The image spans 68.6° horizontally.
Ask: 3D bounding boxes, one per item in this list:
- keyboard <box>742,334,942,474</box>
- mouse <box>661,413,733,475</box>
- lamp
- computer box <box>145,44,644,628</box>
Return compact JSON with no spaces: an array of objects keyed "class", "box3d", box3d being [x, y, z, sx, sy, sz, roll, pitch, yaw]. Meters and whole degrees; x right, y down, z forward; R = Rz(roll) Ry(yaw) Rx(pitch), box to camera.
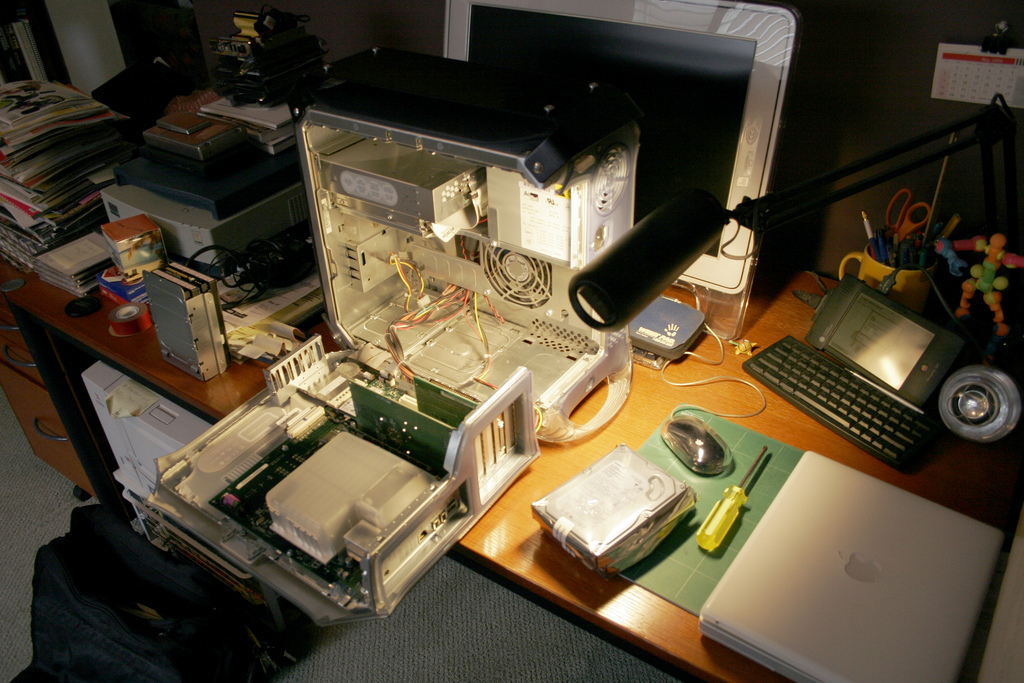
[{"class":"keyboard","box3d":[0.744,0.131,1.713,0.184,0.062,0.402,-26,46,-27]},{"class":"mouse","box3d":[0.400,0.206,1.646,0.129,0.048,0.163,-17,50,-23]},{"class":"lamp","box3d":[0.497,-0.255,1.339,0.907,0.221,0.177,-16,46,-18]},{"class":"computer box","box3d":[-0.242,-0.110,1.516,0.804,0.723,1.037,17,42,25]}]
